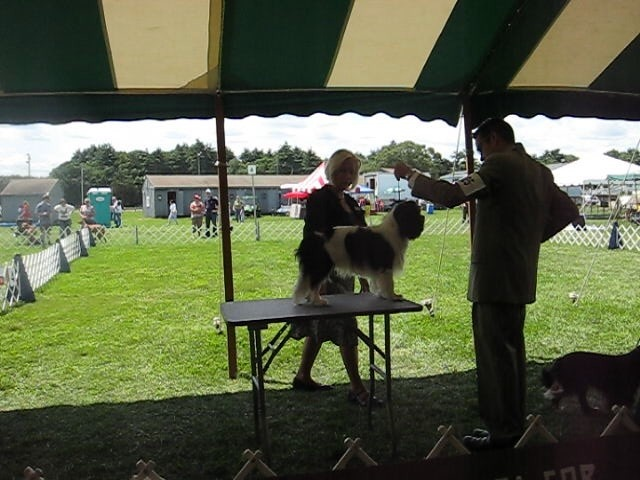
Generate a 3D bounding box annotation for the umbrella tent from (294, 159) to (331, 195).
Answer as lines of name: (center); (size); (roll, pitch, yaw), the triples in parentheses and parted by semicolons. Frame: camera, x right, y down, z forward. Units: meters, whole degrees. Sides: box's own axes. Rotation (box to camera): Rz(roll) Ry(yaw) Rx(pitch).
umbrella tent: (-0.329, -2.175, 18.644); (1.956, 1.220, 2.108); (-1, 4, -10)
